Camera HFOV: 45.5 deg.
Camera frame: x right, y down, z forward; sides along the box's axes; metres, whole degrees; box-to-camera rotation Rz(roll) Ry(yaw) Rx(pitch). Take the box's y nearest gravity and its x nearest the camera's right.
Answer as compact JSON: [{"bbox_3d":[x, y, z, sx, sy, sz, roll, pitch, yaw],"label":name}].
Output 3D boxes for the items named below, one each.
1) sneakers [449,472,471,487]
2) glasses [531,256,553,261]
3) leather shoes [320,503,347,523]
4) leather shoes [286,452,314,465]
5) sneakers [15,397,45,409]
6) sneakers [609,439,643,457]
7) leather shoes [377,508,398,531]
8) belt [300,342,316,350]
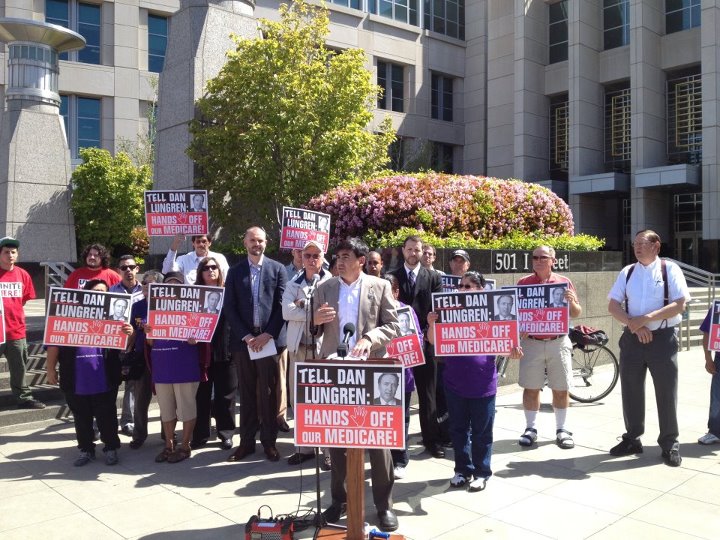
[{"bbox_3d":[1.523,3.248,13.258,0.286,0.140,0.171,-1,0,-1],"label":"sneakers"},{"bbox_3d":[3.037,-0.183,14.508,0.332,0.088,0.228,-2,-2,17],"label":"glasses"},{"bbox_3d":[-0.404,3.559,12.572,0.187,0.261,0.524,-3,-2,37],"label":"leather shoes"},{"bbox_3d":[-0.988,3.062,13.967,0.482,0.193,0.203,9,-12,-38],"label":"leather shoes"},{"bbox_3d":[-6.052,2.448,15.917,0.556,0.238,0.213,2,4,-12],"label":"sneakers"},{"bbox_3d":[4.327,2.913,14.098,0.607,0.290,0.230,-2,-3,-3],"label":"sneakers"},{"bbox_3d":[0.378,3.614,12.451,0.311,0.284,0.257,-2,-1,8],"label":"leather shoes"},{"bbox_3d":[-0.843,1.262,14.128,0.185,0.094,0.244,2,-6,-24],"label":"belt"}]
